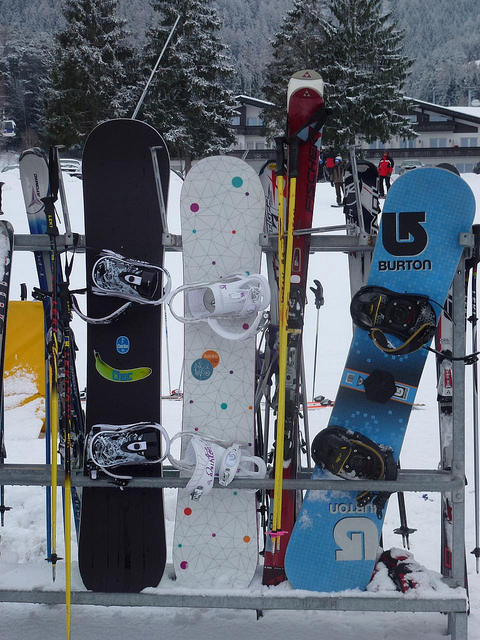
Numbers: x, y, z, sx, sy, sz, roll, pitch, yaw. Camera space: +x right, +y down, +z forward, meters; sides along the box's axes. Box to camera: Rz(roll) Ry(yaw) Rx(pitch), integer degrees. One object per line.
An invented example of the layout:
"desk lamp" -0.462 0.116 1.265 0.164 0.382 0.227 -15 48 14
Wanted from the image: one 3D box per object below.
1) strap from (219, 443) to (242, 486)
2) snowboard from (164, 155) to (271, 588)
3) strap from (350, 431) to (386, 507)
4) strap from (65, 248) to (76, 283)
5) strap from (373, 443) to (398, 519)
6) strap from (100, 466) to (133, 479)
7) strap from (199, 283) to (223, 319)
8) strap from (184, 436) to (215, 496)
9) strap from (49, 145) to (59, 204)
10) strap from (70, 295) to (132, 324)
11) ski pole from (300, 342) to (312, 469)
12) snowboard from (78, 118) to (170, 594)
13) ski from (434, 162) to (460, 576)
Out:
"strap" -0.058 0.866 6.769 0.104 0.319 0.149 0 33 13
"snowboard" -0.117 0.279 6.936 0.553 2.741 0.586 1 3 0
"strap" 0.736 0.875 6.700 0.207 0.424 0.077 1 14 5
"strap" -1.014 -0.307 6.849 0.045 0.178 0.019 6 -7 -18
"strap" 0.849 0.922 6.668 0.089 0.343 0.216 2 2 -22
"strap" -0.710 0.917 6.744 0.112 0.028 0.086 34 -39 -24
"strap" -0.162 -0.106 6.741 0.059 0.186 0.121 -12 27 -33
"strap" -0.213 0.856 6.668 0.118 0.292 0.193 7 -3 -15
"strap" -1.069 -0.841 6.679 0.052 0.350 0.055 -3 11 -18
"strap" -0.825 -0.048 6.885 0.366 0.184 0.164 -1 15 -4
"ski pole" 0.398 0.563 7.179 0.046 0.806 0.079 -1 0 31
"snowboard" -0.702 0.208 6.924 0.504 2.878 0.301 0 -2 -4
"ski" 1.210 0.683 6.800 0.135 1.492 0.096 3 0 6
